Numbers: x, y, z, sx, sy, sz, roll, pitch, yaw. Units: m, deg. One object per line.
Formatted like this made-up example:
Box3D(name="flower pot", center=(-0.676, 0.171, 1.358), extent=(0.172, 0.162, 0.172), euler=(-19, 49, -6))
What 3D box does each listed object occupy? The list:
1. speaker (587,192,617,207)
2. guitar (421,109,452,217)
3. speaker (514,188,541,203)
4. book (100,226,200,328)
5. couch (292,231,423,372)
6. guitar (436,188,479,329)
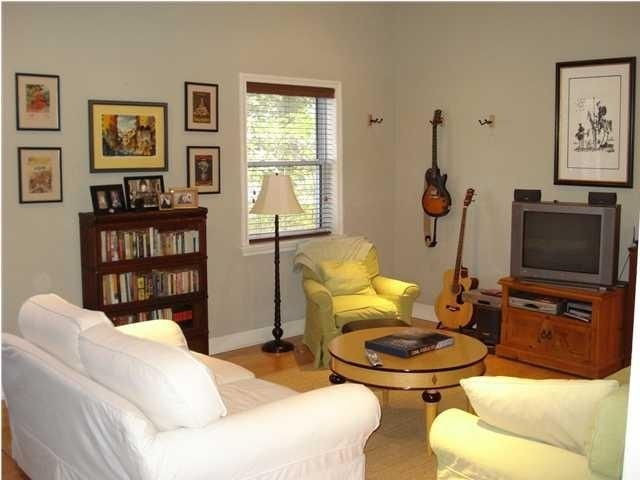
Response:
Box3D(name="speaker", center=(2.378, -0.345, 4.207), extent=(0.201, 0.108, 0.154), euler=(4, 8, 27))
Box3D(name="guitar", center=(1.287, -0.826, 5.489), extent=(0.339, 1.169, 0.161), euler=(8, 11, 44))
Box3D(name="speaker", center=(1.910, -0.408, 4.596), extent=(0.220, 0.113, 0.314), euler=(3, 8, 20))
Box3D(name="book", center=(-1.416, 0.271, 4.041), extent=(0.762, 0.729, 0.270), euler=(-6, 11, -37))
Box3D(name="couch", center=(0.408, 0.506, 5.016), extent=(1.175, 1.350, 1.129), euler=(-1, -1, -23))
Box3D(name="guitar", center=(1.411, 0.217, 5.160), extent=(0.404, 1.491, 0.531), euler=(2, 8, 17))
